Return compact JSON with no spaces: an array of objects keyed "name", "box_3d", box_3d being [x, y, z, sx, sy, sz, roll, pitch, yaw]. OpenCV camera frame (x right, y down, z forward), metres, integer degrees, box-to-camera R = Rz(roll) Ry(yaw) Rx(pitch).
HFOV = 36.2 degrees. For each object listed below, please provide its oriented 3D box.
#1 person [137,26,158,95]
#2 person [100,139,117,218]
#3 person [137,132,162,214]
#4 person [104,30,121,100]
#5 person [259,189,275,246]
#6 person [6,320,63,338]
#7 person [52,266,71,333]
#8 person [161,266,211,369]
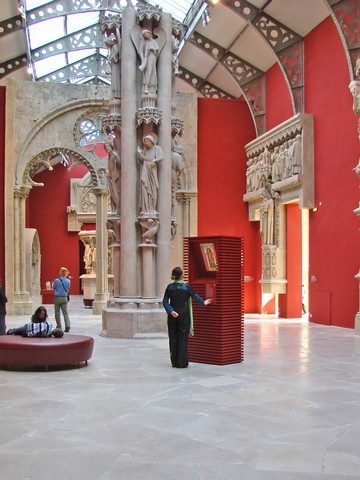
[{"name":"person","box_3d":[-0.601,-3.429,10.687,0.357,1.269,0.298,-1,-5,-3]},{"name":"person","box_3d":[-1.379,-1.305,11.144,0.302,1.586,0.750,0,-5,-8]},{"name":"person","box_3d":[-0.557,-1.260,10.584,0.479,1.548,0.341,0,-5,-6]},{"name":"person","box_3d":[-1.347,-3.544,11.137,0.251,1.494,0.553,1,-5,-21]},{"name":"person","box_3d":[2.502,-0.721,15.729,0.337,1.814,0.700,0,-5,-5]},{"name":"person","box_3d":[-1.991,1.223,7.488,0.763,0.226,0.309,0,14,8]},{"name":"person","box_3d":[-2.354,1.208,11.005,0.307,1.286,0.967,0,-5,-10]},{"name":"person","box_3d":[0.037,1.032,7.378,0.569,1.325,0.315,3,-6,-39]}]
